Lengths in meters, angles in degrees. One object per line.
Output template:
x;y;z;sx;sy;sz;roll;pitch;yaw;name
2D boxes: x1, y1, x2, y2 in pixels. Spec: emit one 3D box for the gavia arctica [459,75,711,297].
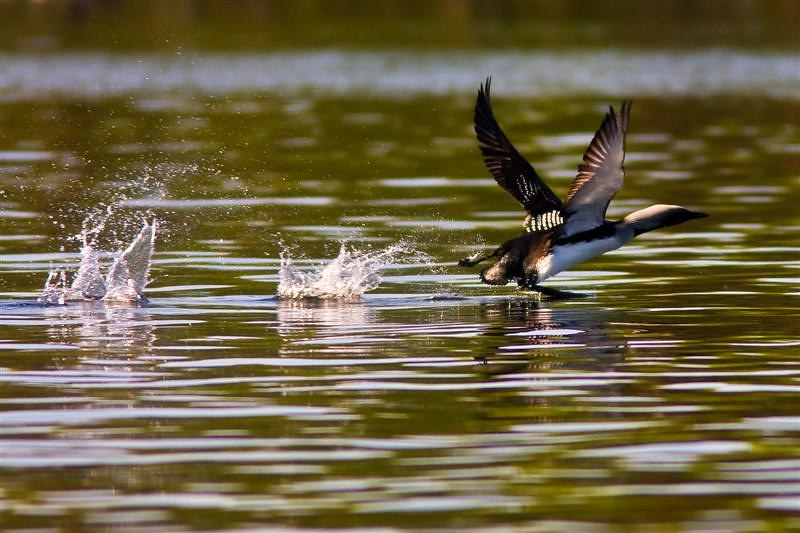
1.840;-0.720;15.629;2.064;2.474;1.200;2;22;10;gavia arctica
